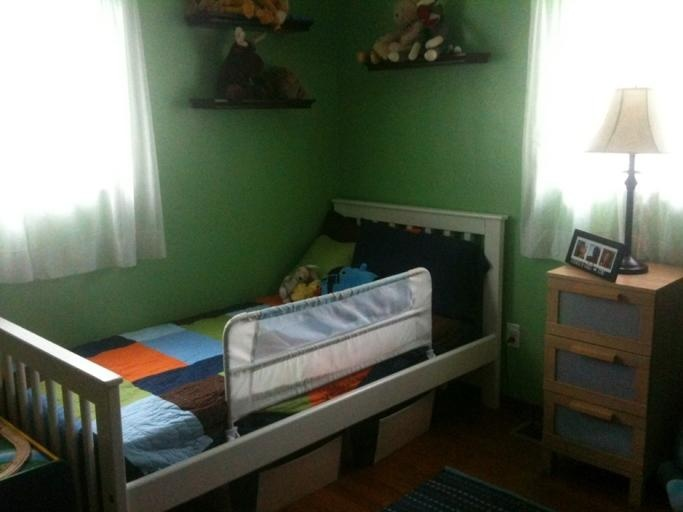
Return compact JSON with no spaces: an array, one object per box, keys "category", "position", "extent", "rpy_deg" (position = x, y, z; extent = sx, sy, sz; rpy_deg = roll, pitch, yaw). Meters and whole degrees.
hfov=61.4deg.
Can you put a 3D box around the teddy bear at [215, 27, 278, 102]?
[{"category":"teddy bear","position":[-0.557,-1.055,3.185],"extent":[0.277,0.410,0.250],"rpy_deg":[-13,17,-34]}]

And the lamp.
[{"category":"lamp","position":[1.266,-0.350,2.585],"extent":[0.318,0.784,0.299],"rpy_deg":[10,19,27]}]

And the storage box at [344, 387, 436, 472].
[{"category":"storage box","position":[0.243,0.837,2.947],"extent":[0.423,0.167,0.314],"rpy_deg":[-12,17,-39]}]

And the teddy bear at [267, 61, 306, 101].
[{"category":"teddy bear","position":[-0.348,-1.051,3.353],"extent":[0.219,0.094,0.295],"rpy_deg":[12,26,-11]}]

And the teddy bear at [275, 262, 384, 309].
[{"category":"teddy bear","position":[-0.099,0.170,3.334],"extent":[0.463,0.200,0.258],"rpy_deg":[-11,-17,23]}]
